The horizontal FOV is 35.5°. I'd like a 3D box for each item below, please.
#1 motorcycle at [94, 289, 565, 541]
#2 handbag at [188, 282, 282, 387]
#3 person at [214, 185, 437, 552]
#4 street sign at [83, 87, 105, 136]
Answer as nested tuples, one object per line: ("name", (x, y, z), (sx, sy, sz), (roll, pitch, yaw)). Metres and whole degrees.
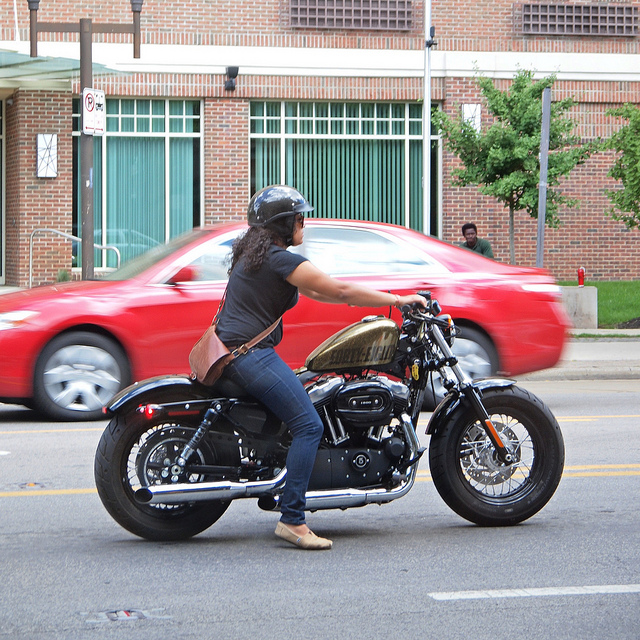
("motorcycle", (0.099, 0.460, 5.303), (2.540, 1.303, 1.064), (0, -2, -14))
("handbag", (-0.456, 0.088, 4.978), (0.258, 0.459, 0.167), (38, -10, 42))
("person", (-0.122, 0.237, 5.016), (0.839, 1.829, 0.382), (0, 2, 2))
("street sign", (-3.060, -2.825, 13.458), (0.228, 0.641, 0.449), (1, 3, 15))
